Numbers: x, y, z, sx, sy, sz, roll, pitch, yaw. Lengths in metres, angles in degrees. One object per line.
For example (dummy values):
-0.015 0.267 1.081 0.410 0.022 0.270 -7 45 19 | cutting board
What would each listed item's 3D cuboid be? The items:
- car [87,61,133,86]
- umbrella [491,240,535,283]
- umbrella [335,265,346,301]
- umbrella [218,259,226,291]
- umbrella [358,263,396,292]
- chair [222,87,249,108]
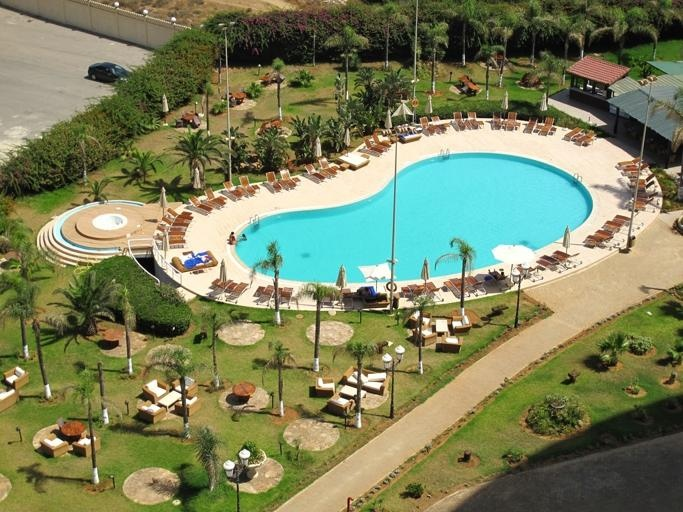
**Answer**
-25.360 -20.238 86.387 5.187 1.953 2.681 15 27 28 | car
13.198 0.622 59.817 3.010 3.041 2.753 1 13 21 | umbrella
-0.007 2.018 58.859 0.706 2.781 0.860 1 24 -1 | umbrella
-8.964 1.141 59.459 0.574 1.821 1.634 -3 24 -10 | umbrella
2.716 1.705 58.912 2.363 2.447 2.732 3 24 3 | umbrella
-11.254 -16.993 84.169 2.460 0.887 1.812 -3 47 -8 | chair
